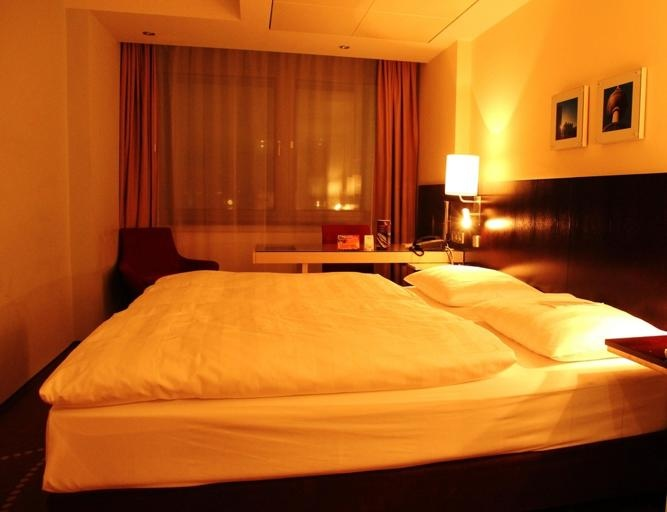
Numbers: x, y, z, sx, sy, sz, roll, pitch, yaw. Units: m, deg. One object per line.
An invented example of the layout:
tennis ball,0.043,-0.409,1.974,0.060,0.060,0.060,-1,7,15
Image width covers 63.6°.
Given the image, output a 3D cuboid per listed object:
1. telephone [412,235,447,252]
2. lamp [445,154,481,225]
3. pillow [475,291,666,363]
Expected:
telephone,0.817,-0.098,4.628,0.209,0.085,0.170,0,4,-9
lamp,1.006,-0.605,4.494,0.338,0.622,0.346,0,2,-29
pillow,1.219,0.364,2.738,0.388,0.138,0.456,-4,9,-18
